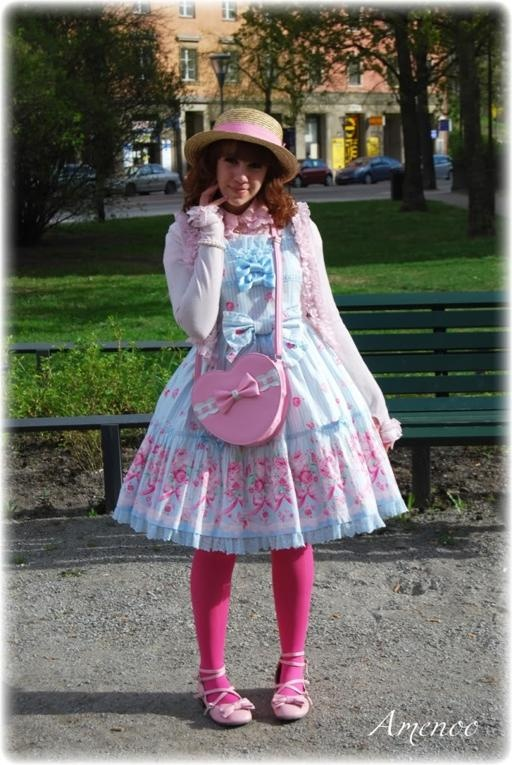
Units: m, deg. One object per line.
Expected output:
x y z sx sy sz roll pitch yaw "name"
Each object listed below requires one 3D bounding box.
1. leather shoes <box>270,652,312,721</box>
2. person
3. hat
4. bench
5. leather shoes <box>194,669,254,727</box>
0.103 0.909 2.453 0.090 0.091 0.231 -1 -4 0 "leather shoes"
0.023 0.099 2.467 0.813 1.779 0.592 -11 16 -32 "person"
-0.024 -0.718 2.490 0.368 0.229 0.319 -4 13 -13 "hat"
0.758 0.065 3.809 1.303 0.859 0.516 -1 8 -4 "bench"
-0.108 0.932 2.487 0.128 0.087 0.250 -4 15 -27 "leather shoes"
